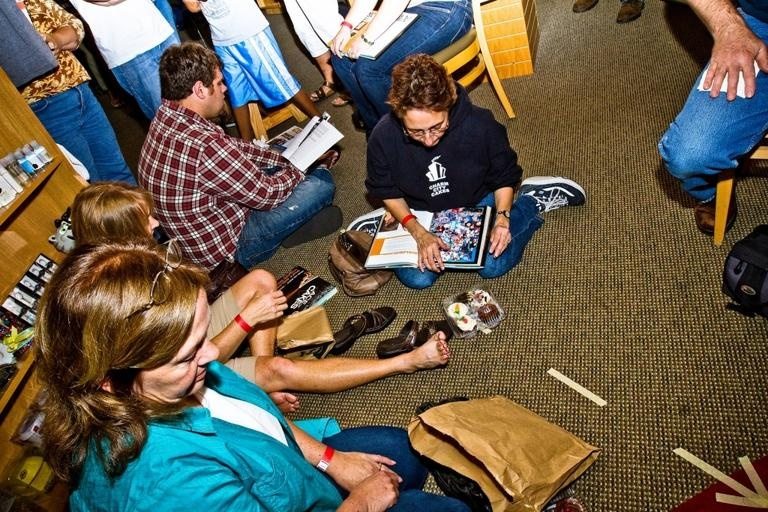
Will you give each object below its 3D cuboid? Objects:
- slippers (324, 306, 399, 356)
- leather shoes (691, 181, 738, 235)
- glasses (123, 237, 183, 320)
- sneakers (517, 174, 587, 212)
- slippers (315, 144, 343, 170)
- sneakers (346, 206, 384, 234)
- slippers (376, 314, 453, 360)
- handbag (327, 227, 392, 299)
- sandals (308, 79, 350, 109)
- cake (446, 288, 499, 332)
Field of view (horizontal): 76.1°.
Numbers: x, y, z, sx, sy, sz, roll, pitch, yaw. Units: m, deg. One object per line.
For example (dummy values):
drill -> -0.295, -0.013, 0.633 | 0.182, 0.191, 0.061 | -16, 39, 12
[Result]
slippers -> -0.121, 0.413, 2.868 | 0.456, 0.122, 0.186 | -32, 49, -5
leather shoes -> 1.772, -0.234, 2.669 | 0.395, 0.165, 0.130 | -50, 33, -18
glasses -> -0.807, 0.091, 1.585 | 0.217, 0.067, 0.221 | -19, 41, 21
sneakers -> 1.010, -0.395, 3.001 | 0.393, 0.189, 0.190 | 9, 49, 25
slippers -> -0.420, -0.800, 3.846 | 0.094, 0.113, 0.288 | 41, 74, 19
sneakers -> -0.121, -0.210, 3.153 | 0.242, 0.147, 0.077 | -38, -2, 0
slippers -> 0.152, 0.452, 2.763 | 0.465, 0.170, 0.182 | -22, 38, 5
handbag -> -0.146, 0.036, 3.075 | 0.408, 0.166, 0.462 | -33, 57, -24
sandals -> -0.487, -1.442, 4.409 | 0.357, 0.119, 0.220 | -13, 53, -4
cake -> 0.494, 0.305, 2.718 | 0.312, 0.122, 0.243 | -12, 41, 10
